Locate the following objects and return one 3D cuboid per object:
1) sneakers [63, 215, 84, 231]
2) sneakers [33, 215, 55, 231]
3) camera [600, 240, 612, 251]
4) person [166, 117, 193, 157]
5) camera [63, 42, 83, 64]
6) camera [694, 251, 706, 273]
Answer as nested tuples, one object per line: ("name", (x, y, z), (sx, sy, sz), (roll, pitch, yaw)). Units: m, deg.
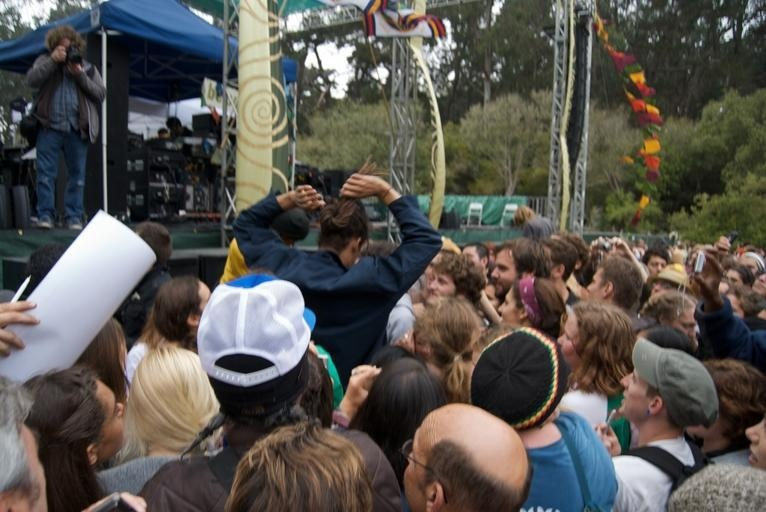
("sneakers", (-4.476, -0.473, 11.657), (0.197, 0.297, 0.611), (0, 0, -27))
("sneakers", (-4.812, -0.486, 11.441), (0.154, 0.187, 0.419), (1, 7, -32))
("camera", (2.937, -0.146, 10.541), (0.112, 0.127, 0.207), (32, 2, 18))
("person", (-4.026, -2.226, 15.927), (0.535, 0.341, 0.862), (0, 14, -16))
("camera", (-4.272, -2.807, 11.086), (0.205, 0.286, 0.220), (-7, 11, -38))
("camera", (3.281, 0.059, 8.275), (0.065, 0.270, 0.135), (3, -10, 19))
